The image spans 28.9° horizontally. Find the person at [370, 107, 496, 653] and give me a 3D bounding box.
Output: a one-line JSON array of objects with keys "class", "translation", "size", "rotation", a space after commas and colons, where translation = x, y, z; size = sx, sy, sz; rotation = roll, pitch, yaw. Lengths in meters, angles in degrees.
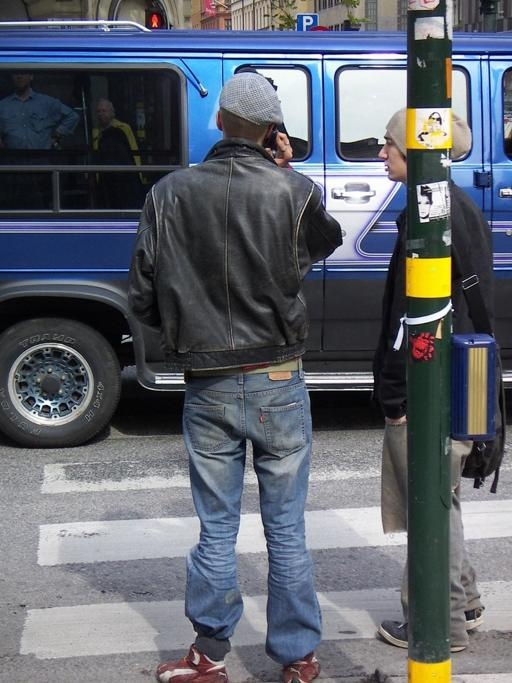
[{"class": "person", "translation": [0.618, 0.163, 3.462], "size": [0.423, 1.937, 0.598], "rotation": [1, 10, 6]}]

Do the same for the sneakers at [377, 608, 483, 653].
[{"class": "sneakers", "translation": [0.640, 1.065, 3.639], "size": [0.448, 0.185, 0.142], "rotation": [0, 8, 3]}]

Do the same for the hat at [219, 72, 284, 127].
[{"class": "hat", "translation": [-0.008, -0.758, 3.054], "size": [0.149, 0.104, 0.197], "rotation": [-2, 22, -16]}]

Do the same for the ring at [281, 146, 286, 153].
[{"class": "ring", "translation": [0.087, -0.652, 3.304], "size": [0.020, 0.017, 0.005], "rotation": [-7, 9, -42]}]
